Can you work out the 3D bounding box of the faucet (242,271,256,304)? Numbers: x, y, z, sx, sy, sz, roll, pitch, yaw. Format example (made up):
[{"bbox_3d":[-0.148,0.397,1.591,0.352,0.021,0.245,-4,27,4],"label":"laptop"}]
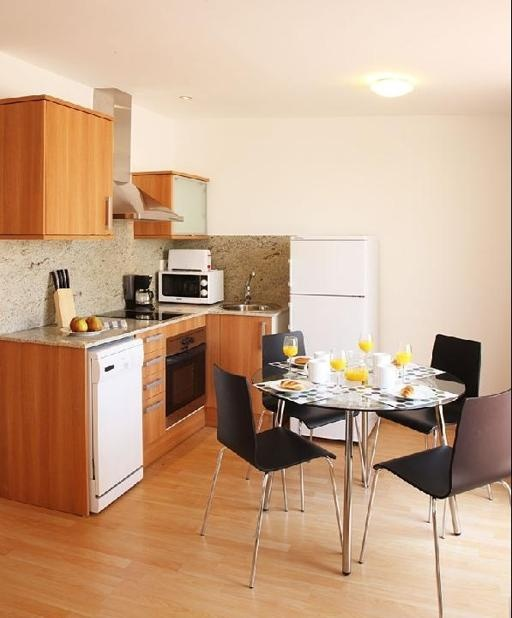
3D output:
[{"bbox_3d":[-0.083,-0.191,4.563,0.121,0.289,0.214,1,5,11],"label":"faucet"}]

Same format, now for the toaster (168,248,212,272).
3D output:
[{"bbox_3d":[-0.580,-0.420,4.408,0.374,0.189,0.197,1,5,6],"label":"toaster"}]

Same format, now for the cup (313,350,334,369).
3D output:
[{"bbox_3d":[0.332,0.249,2.526,0.086,0.064,0.066,0,0,-22],"label":"cup"}]

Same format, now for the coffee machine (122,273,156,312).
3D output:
[{"bbox_3d":[-0.919,-0.131,3.997,0.282,0.360,0.236,0,4,9],"label":"coffee machine"}]

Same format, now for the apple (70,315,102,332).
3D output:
[{"bbox_3d":[-0.925,0.080,2.812,0.087,0.067,0.122,0,-3,4],"label":"apple"}]

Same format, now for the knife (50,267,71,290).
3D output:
[{"bbox_3d":[-1.206,-0.186,3.179,0.044,0.139,0.099,-2,6,29],"label":"knife"}]

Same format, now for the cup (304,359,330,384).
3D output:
[{"bbox_3d":[0.287,0.288,2.410,0.074,0.102,0.118,-1,0,-42],"label":"cup"}]

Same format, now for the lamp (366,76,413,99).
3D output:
[{"bbox_3d":[0.854,-1.420,3.264,0.284,0.069,0.322,1,5,14],"label":"lamp"}]

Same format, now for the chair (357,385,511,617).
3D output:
[{"bbox_3d":[0.756,0.683,2.000,0.413,0.826,0.442,-3,6,-29],"label":"chair"}]

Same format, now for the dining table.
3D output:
[{"bbox_3d":[0.450,0.530,2.299,0.862,0.676,0.897,1,4,17],"label":"dining table"}]
